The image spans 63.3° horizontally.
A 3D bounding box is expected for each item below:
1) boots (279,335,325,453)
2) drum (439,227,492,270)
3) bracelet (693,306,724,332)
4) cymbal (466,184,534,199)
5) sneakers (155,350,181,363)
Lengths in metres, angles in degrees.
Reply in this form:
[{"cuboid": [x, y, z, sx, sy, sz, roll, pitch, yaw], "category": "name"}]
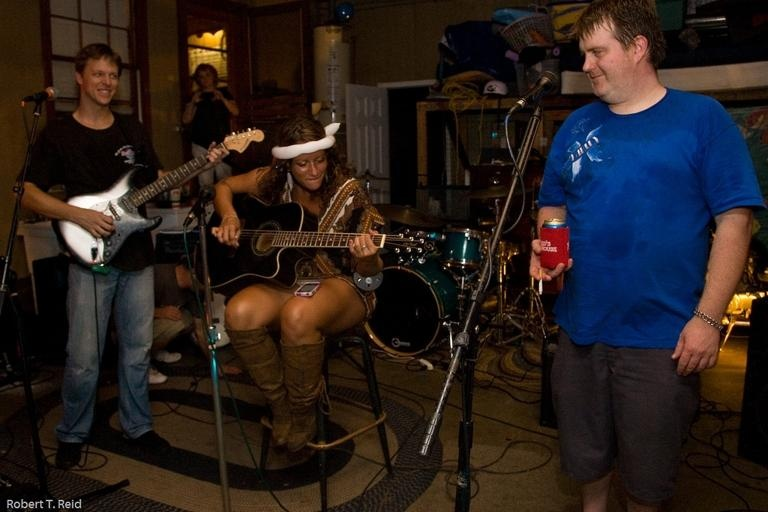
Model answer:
[{"cuboid": [-0.409, 0.714, 3.192, 0.219, 0.586, 0.153, -3, 11, -7], "category": "boots"}, {"cuboid": [0.606, -0.042, 4.603, 0.341, 0.229, 0.321, 4, -7, 0], "category": "drum"}, {"cuboid": [1.217, 0.238, 2.337, 0.103, 0.026, 0.076, 24, -6, -4], "category": "bracelet"}, {"cuboid": [0.863, -0.516, 5.122, 0.401, 0.082, 0.398, 6, 19, 32], "category": "cymbal"}, {"cuboid": [-1.702, 0.783, 4.900, 0.224, 0.084, 0.067, -2, 51, -2], "category": "sneakers"}]
